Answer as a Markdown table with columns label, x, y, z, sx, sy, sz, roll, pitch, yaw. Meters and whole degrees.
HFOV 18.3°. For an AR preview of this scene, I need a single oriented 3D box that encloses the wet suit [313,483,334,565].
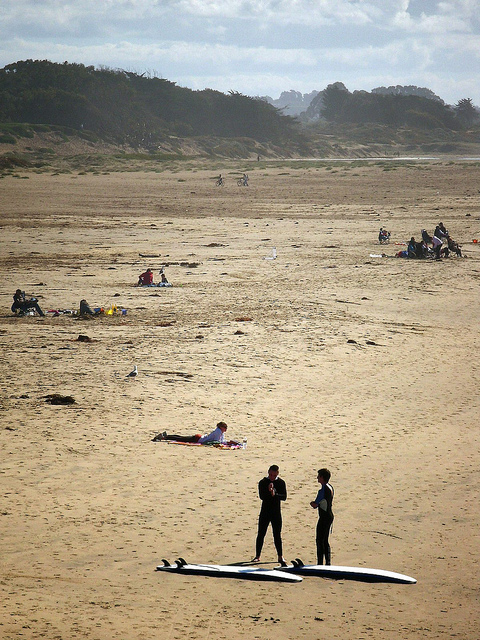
| label | x | y | z | sx | sy | sz | roll | pitch | yaw |
| --- | --- | --- | --- | --- | --- | --- | --- | --- | --- |
| wet suit | 1.141 | 2.802 | 20.579 | 0.268 | 1.025 | 0.445 | 3 | 13 | 4 |

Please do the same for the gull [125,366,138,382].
| label | x | y | z | sx | sy | sz | roll | pitch | yaw |
| --- | --- | --- | --- | --- | --- | --- | --- | --- | --- |
| gull | -1.932 | 0.935 | 26.512 | 0.163 | 0.195 | 0.099 | -4 | 12 | -16 |

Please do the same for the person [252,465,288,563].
| label | x | y | z | sx | sy | sz | roll | pitch | yaw |
| --- | --- | --- | --- | --- | --- | --- | --- | --- | --- |
| person | 0.420 | 2.642 | 20.746 | 0.423 | 1.223 | 0.763 | 3 | 14 | 2 |

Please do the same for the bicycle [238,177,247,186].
| label | x | y | z | sx | sy | sz | roll | pitch | yaw |
| --- | --- | --- | --- | --- | --- | --- | --- | --- | --- |
| bicycle | 0.005 | -7.200 | 78.264 | 0.244 | 0.400 | 0.582 | 3 | 16 | 1 |

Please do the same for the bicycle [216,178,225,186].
| label | x | y | z | sx | sy | sz | roll | pitch | yaw |
| --- | --- | --- | --- | --- | --- | --- | --- | --- | --- |
| bicycle | -1.124 | -7.168 | 78.190 | 0.325 | 0.385 | 0.527 | -5 | 14 | -33 |

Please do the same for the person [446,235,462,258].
| label | x | y | z | sx | sy | sz | roll | pitch | yaw |
| --- | --- | --- | --- | --- | --- | --- | --- | --- | --- |
| person | 6.148 | -2.061 | 42.575 | 0.389 | 0.491 | 0.696 | -1 | 16 | -16 |

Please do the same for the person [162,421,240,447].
| label | x | y | z | sx | sy | sz | roll | pitch | yaw |
| --- | --- | --- | --- | --- | --- | --- | --- | --- | --- |
| person | -0.654 | 1.830 | 23.851 | 0.973 | 0.405 | 0.260 | 3 | 5 | 15 |

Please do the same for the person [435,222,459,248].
| label | x | y | z | sx | sy | sz | roll | pitch | yaw |
| --- | --- | --- | --- | --- | --- | --- | --- | --- | --- |
| person | 6.290 | -2.535 | 45.238 | 0.413 | 0.444 | 1.054 | 10 | -6 | 27 |

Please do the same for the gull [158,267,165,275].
| label | x | y | z | sx | sy | sz | roll | pitch | yaw |
| --- | --- | --- | --- | --- | --- | --- | --- | --- | --- |
| gull | -1.974 | -1.194 | 36.876 | 0.096 | 0.150 | 0.333 | 10 | 10 | -9 |
